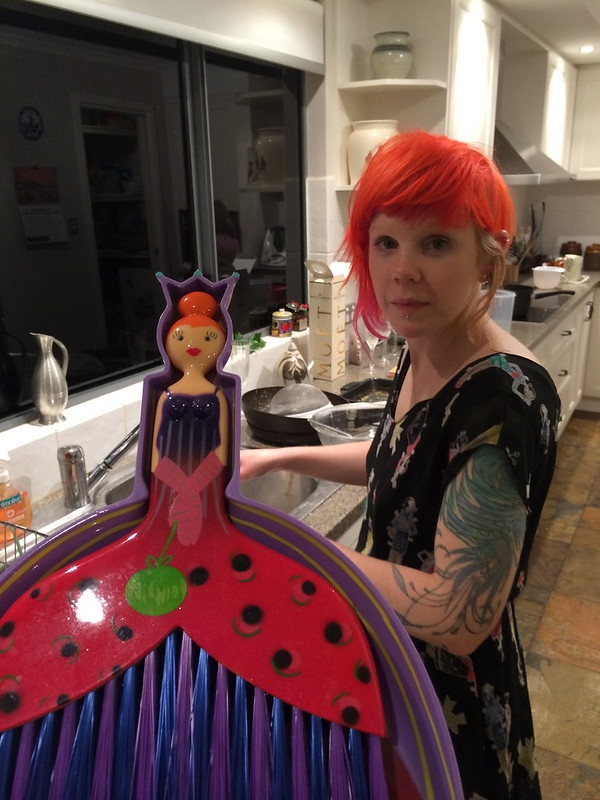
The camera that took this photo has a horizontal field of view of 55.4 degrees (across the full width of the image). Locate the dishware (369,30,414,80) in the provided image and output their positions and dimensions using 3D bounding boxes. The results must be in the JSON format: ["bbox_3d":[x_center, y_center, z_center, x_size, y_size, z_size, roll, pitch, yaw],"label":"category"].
[{"bbox_3d":[0.340,-1.270,2.125,0.147,0.162,0.089,-1,17,5],"label":"dishware"}]

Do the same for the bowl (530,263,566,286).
[{"bbox_3d":[1.647,-0.816,3.800,0.210,0.125,0.176,4,8,11],"label":"bowl"}]

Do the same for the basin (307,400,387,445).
[{"bbox_3d":[0.111,0.031,1.329,0.133,0.050,0.123,-3,6,0],"label":"basin"}]

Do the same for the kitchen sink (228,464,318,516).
[{"bbox_3d":[-0.068,0.231,1.463,0.197,0.078,0.244,8,9,33],"label":"kitchen sink"}]

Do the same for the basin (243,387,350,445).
[{"bbox_3d":[-0.023,0.051,1.638,0.295,0.096,0.295,1,17,0],"label":"basin"}]
